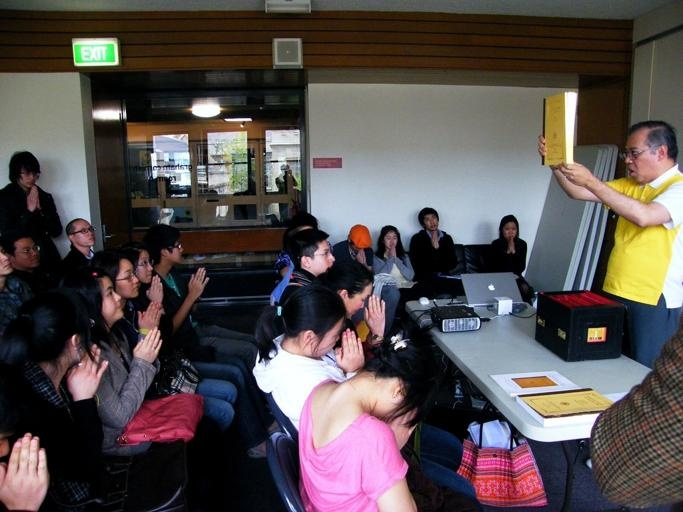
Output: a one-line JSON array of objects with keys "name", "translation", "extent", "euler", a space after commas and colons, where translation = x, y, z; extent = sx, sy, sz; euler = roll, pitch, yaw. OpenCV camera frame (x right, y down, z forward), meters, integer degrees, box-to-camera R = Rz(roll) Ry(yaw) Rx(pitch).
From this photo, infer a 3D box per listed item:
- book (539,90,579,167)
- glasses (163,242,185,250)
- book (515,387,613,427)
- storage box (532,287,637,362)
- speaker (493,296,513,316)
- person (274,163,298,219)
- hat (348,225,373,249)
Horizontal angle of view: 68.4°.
[{"name": "book", "translation": [1.140, -0.678, 2.645], "extent": [0.090, 0.353, 0.330], "euler": [-2, 5, -9]}, {"name": "glasses", "translation": [-1.245, -0.080, 3.717], "extent": [0.143, 0.044, 0.140], "euler": [1, 10, -1]}, {"name": "book", "translation": [1.025, 0.685, 2.308], "extent": [0.278, 0.040, 0.206], "euler": [-6, 12, -14]}, {"name": "storage box", "translation": [1.379, 0.344, 2.878], "extent": [0.393, 0.309, 0.395], "euler": [-2, 8, -15]}, {"name": "speaker", "translation": [1.111, 0.344, 3.520], "extent": [0.114, 0.112, 0.113], "euler": [-10, 17, -33]}, {"name": "person", "translation": [-0.648, -0.696, 6.032], "extent": [0.218, 0.931, 0.110], "euler": [-10, -30, 4]}, {"name": "hat", "translation": [0.183, -0.175, 5.129], "extent": [0.188, 0.119, 0.256], "euler": [-18, 53, -13]}]
